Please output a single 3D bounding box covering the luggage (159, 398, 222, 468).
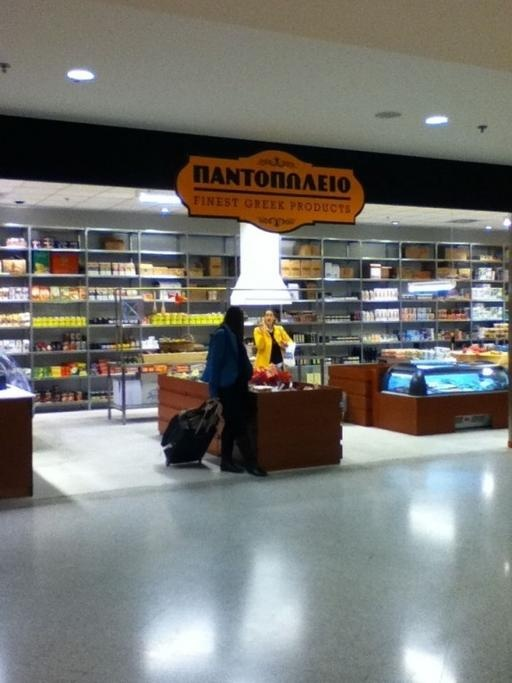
[{"bbox_3d":[-0.694,1.011,6.480,0.521,0.416,1.065,10,41,4],"label":"luggage"}]

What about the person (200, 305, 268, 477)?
[{"bbox_3d":[-0.232,0.531,5.962,0.578,1.819,0.375,-1,-1,-6],"label":"person"}]

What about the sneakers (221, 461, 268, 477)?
[{"bbox_3d":[-0.166,1.372,5.989,0.556,0.233,0.174,-9,-9,37],"label":"sneakers"}]
